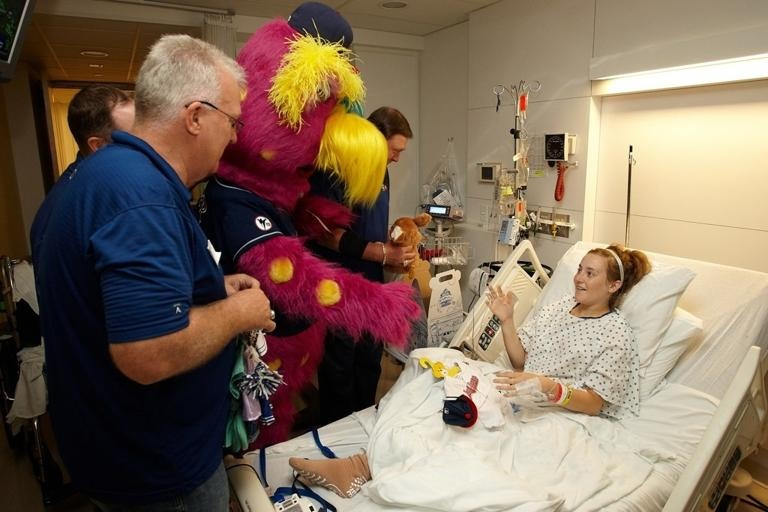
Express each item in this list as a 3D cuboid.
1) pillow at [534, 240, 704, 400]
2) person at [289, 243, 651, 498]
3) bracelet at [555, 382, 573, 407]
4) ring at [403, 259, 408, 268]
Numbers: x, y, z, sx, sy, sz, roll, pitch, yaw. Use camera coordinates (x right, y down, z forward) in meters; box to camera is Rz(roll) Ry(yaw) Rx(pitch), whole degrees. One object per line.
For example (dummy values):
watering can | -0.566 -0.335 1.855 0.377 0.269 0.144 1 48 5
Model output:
pillow | 1.535 0.472 3.115 0.799 0.815 0.242 31 -12 8
person | 0.694 0.446 2.755 2.256 1.134 0.903 -8 15 -36
bracelet | 0.913 0.689 2.468 0.097 0.073 0.123 24 -12 8
ring | 0.120 0.031 2.612 0.019 0.028 0.028 11 4 -1
